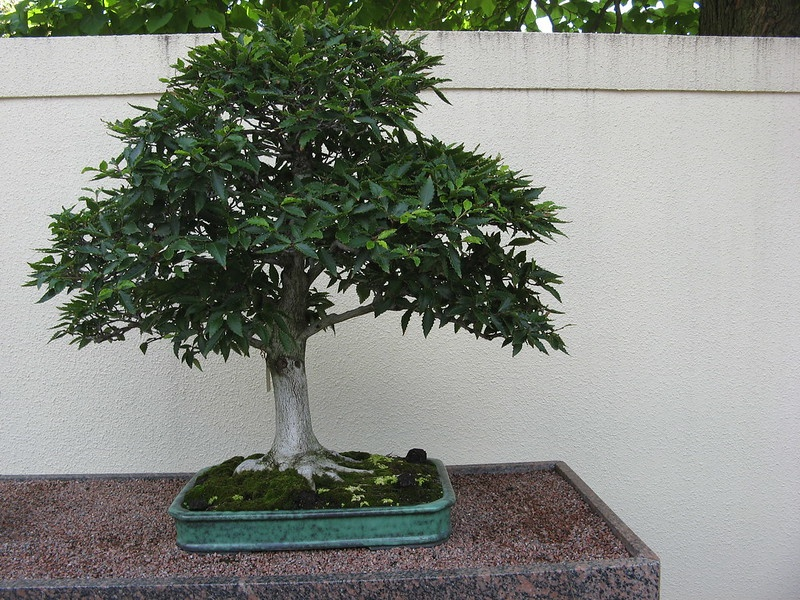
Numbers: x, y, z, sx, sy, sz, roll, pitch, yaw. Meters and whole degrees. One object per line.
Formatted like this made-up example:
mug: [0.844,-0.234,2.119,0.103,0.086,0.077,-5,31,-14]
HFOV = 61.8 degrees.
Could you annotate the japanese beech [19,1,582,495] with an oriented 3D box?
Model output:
japanese beech: [-0.382,-0.185,2.583,1.965,1.917,0.764,-1,11,9]
